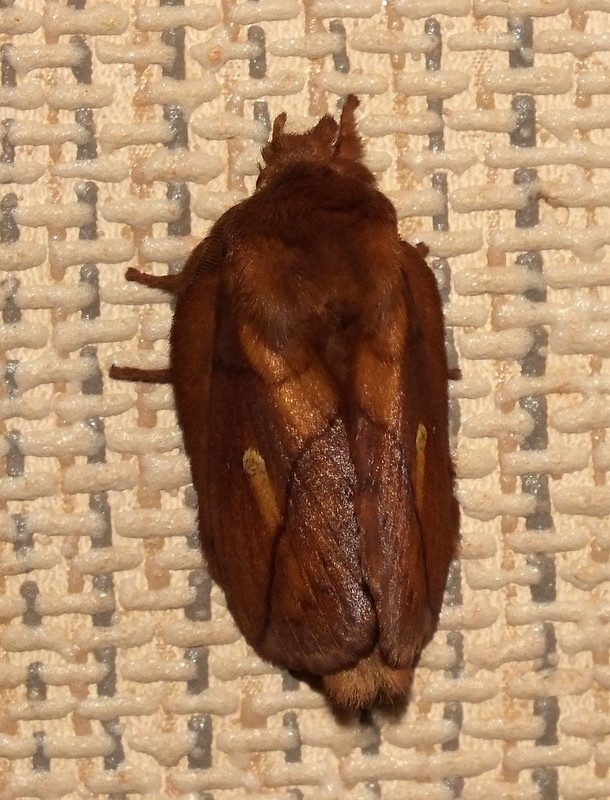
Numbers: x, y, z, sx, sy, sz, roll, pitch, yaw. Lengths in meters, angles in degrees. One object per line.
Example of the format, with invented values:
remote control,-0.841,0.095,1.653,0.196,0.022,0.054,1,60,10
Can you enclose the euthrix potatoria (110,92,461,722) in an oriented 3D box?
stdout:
euthrix potatoria,-0.015,0.003,1.142,0.312,0.528,0.212,-1,2,5
